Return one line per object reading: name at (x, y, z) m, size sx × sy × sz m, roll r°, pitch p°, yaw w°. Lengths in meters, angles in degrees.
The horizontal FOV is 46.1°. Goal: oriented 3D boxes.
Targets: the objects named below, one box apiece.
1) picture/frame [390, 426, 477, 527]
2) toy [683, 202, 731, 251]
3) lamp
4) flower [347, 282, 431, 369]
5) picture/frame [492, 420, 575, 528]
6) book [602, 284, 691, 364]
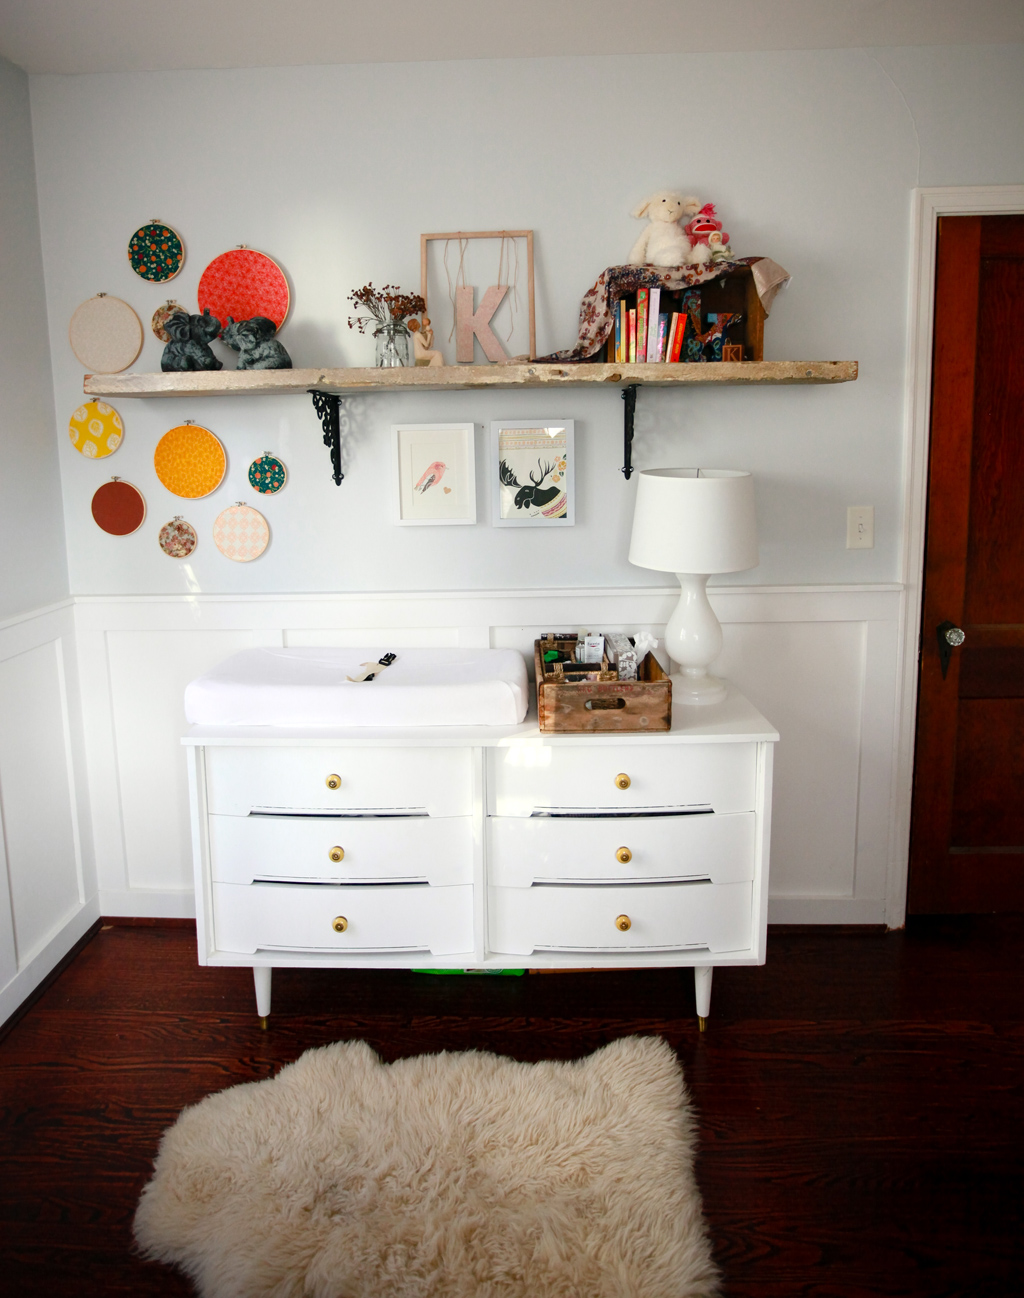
picture/frame at (-0.187, -0.429, 2.906) m, size 0.268 × 0.268 × 0.024 m, roll -1°, pitch 15°, yaw 1°
toy at (0.439, -0.954, 2.720) m, size 0.098 × 0.107 × 0.151 m, roll 0°, pitch 13°, yaw 9°
lamp at (0.407, -0.144, 2.711) m, size 0.271 × 0.511 × 0.315 m, roll 0°, pitch 14°, yaw 10°
flower at (-0.281, -0.738, 2.804) m, size 0.229 × 0.203 × 0.218 m, roll -5°, pitch 13°, yaw -14°
picture/frame at (0.053, -0.434, 2.893) m, size 0.284 × 0.310 × 0.023 m, roll -1°, pitch 15°, yaw 3°
book at (0.302, -0.722, 2.681) m, size 0.187 × 0.164 × 0.095 m, roll 0°, pitch 14°, yaw 7°
